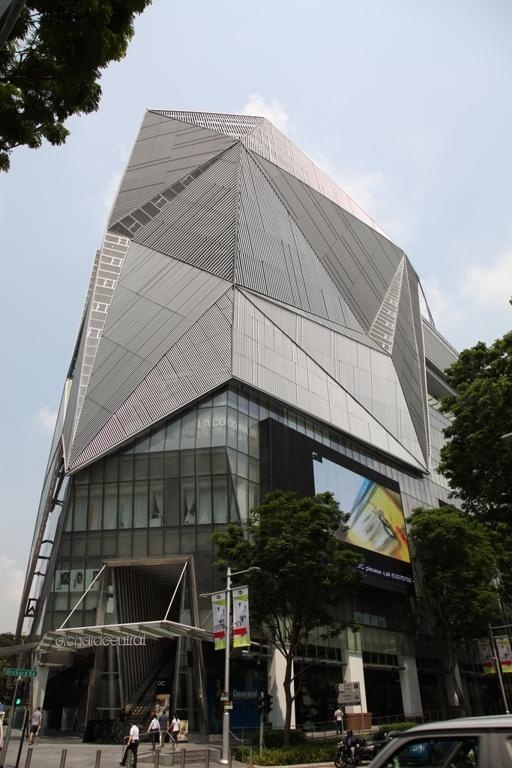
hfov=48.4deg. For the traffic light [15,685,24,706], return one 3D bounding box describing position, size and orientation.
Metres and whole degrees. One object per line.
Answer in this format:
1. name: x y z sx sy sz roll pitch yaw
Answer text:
1. traffic light: -7.519 9.784 18.071 0.191 0.648 0.451 8 -30 -15
